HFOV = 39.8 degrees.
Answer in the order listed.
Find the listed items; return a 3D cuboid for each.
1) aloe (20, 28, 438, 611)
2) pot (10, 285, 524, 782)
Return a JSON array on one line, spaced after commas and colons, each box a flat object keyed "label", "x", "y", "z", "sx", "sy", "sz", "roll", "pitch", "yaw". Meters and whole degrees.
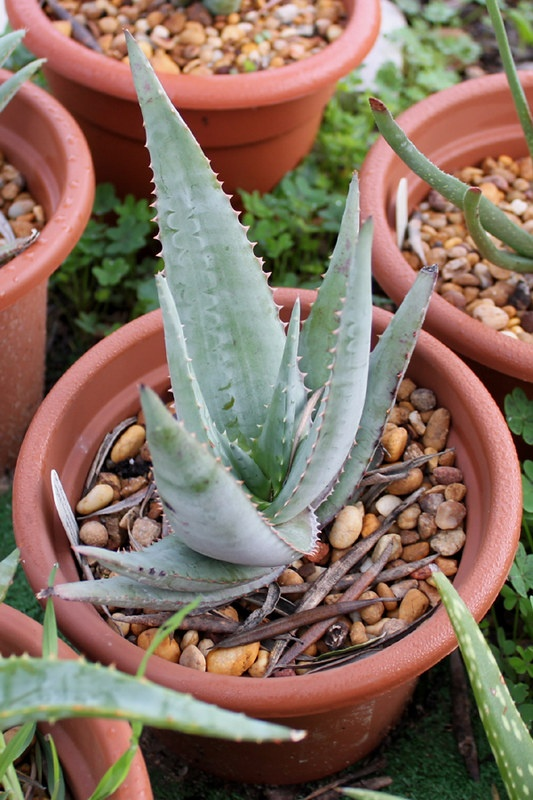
[{"label": "aloe", "x": -0.008, "y": 0.047, "z": 0.720, "sx": 0.270, "sy": 0.251, "sz": 0.286, "roll": -3, "pitch": 77, "yaw": -47}, {"label": "pot", "x": 0.076, "y": 0.248, "z": 1.033, "sx": 0.628, "sy": 0.419, "sz": 0.599, "roll": 0, "pitch": 50, "yaw": 1}]
